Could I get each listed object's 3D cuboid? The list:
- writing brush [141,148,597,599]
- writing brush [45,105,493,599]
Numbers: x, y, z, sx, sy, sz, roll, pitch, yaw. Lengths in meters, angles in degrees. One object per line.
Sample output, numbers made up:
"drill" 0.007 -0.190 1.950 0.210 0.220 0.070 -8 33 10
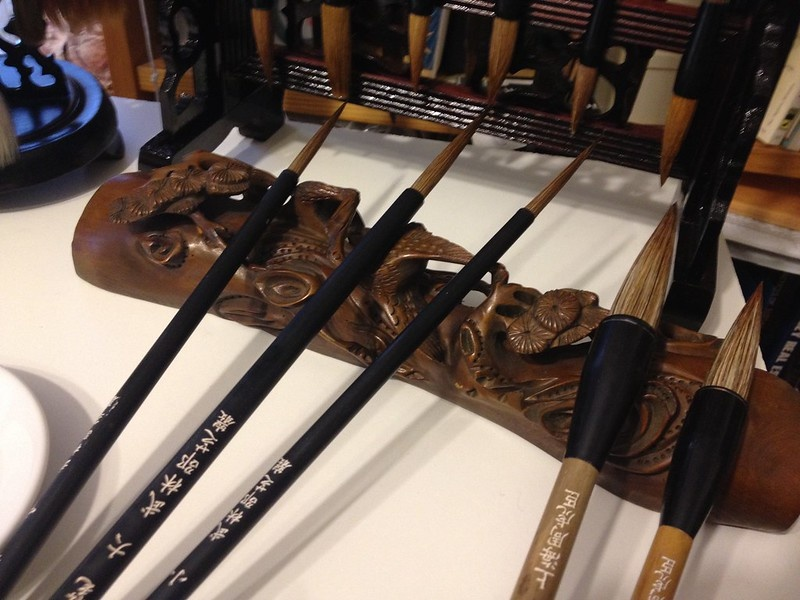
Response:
"writing brush" -0.038 0.079 0.662 0.035 0.029 0.620 38 69 20
"writing brush" -0.133 0.059 0.686 0.056 0.646 0.032 43 -9 -19
